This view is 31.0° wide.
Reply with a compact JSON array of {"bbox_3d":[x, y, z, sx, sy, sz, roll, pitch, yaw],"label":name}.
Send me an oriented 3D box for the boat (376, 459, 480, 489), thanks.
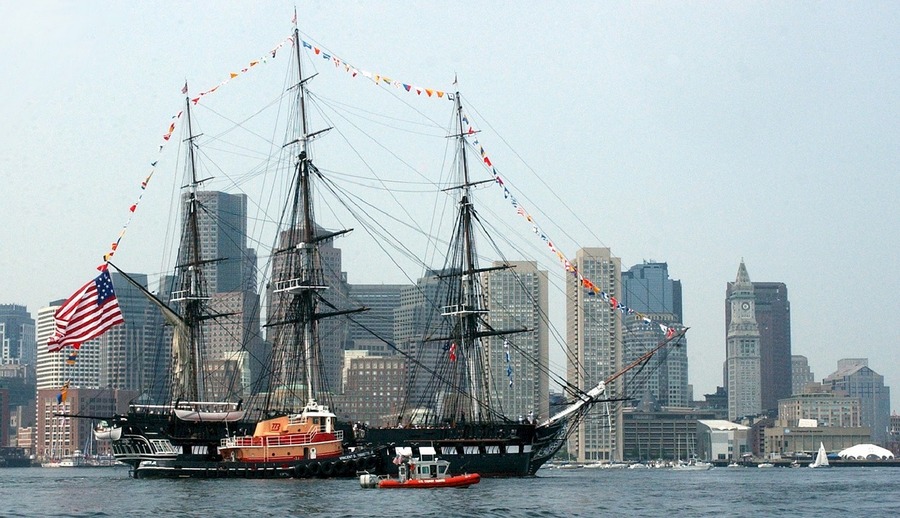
[{"bbox_3d":[-7.128,65.561,493.711,27.522,7.847,6.514,-2,-14,8],"label":"boat"}]
